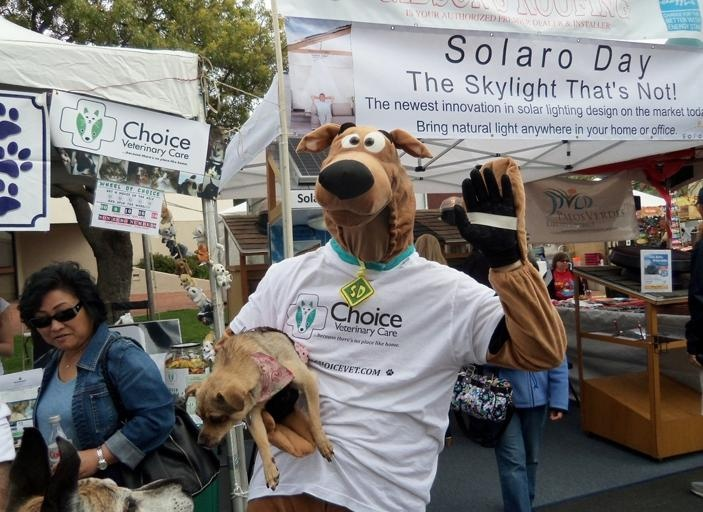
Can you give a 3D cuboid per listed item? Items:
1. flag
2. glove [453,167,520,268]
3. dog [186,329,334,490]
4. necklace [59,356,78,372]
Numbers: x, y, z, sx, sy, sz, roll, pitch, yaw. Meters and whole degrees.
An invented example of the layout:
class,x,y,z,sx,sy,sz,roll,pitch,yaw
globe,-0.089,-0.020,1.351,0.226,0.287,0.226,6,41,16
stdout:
class,x,y,z,sx,sy,sz,roll,pitch,yaw
flag,3.085,-0.693,8.667,1.227,0.875,0.114,-3,21,15
glove,0.665,-0.198,3.124,0.307,0.495,0.160,-3,6,14
dog,-0.432,0.800,3.598,0.613,0.712,1.307,-23,-8,7
necklace,-1.778,0.679,4.009,0.104,0.103,0.025,5,-22,17
